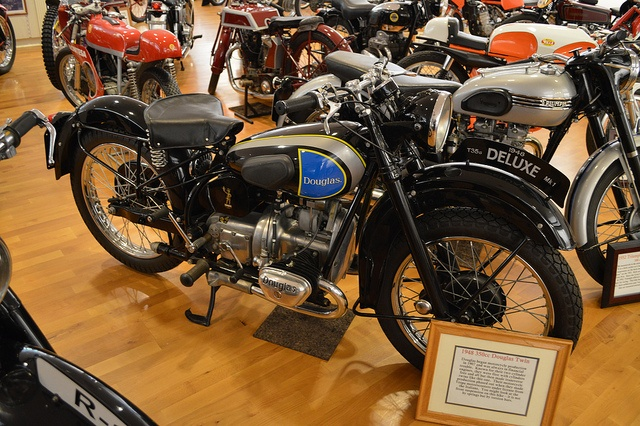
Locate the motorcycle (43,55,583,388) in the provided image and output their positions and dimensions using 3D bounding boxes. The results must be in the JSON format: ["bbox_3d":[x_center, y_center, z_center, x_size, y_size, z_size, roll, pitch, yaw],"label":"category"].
[{"bbox_3d":[-0.270,-0.397,2.843,3.346,1.492,1.218,15,42,19],"label":"motorcycle"}]
